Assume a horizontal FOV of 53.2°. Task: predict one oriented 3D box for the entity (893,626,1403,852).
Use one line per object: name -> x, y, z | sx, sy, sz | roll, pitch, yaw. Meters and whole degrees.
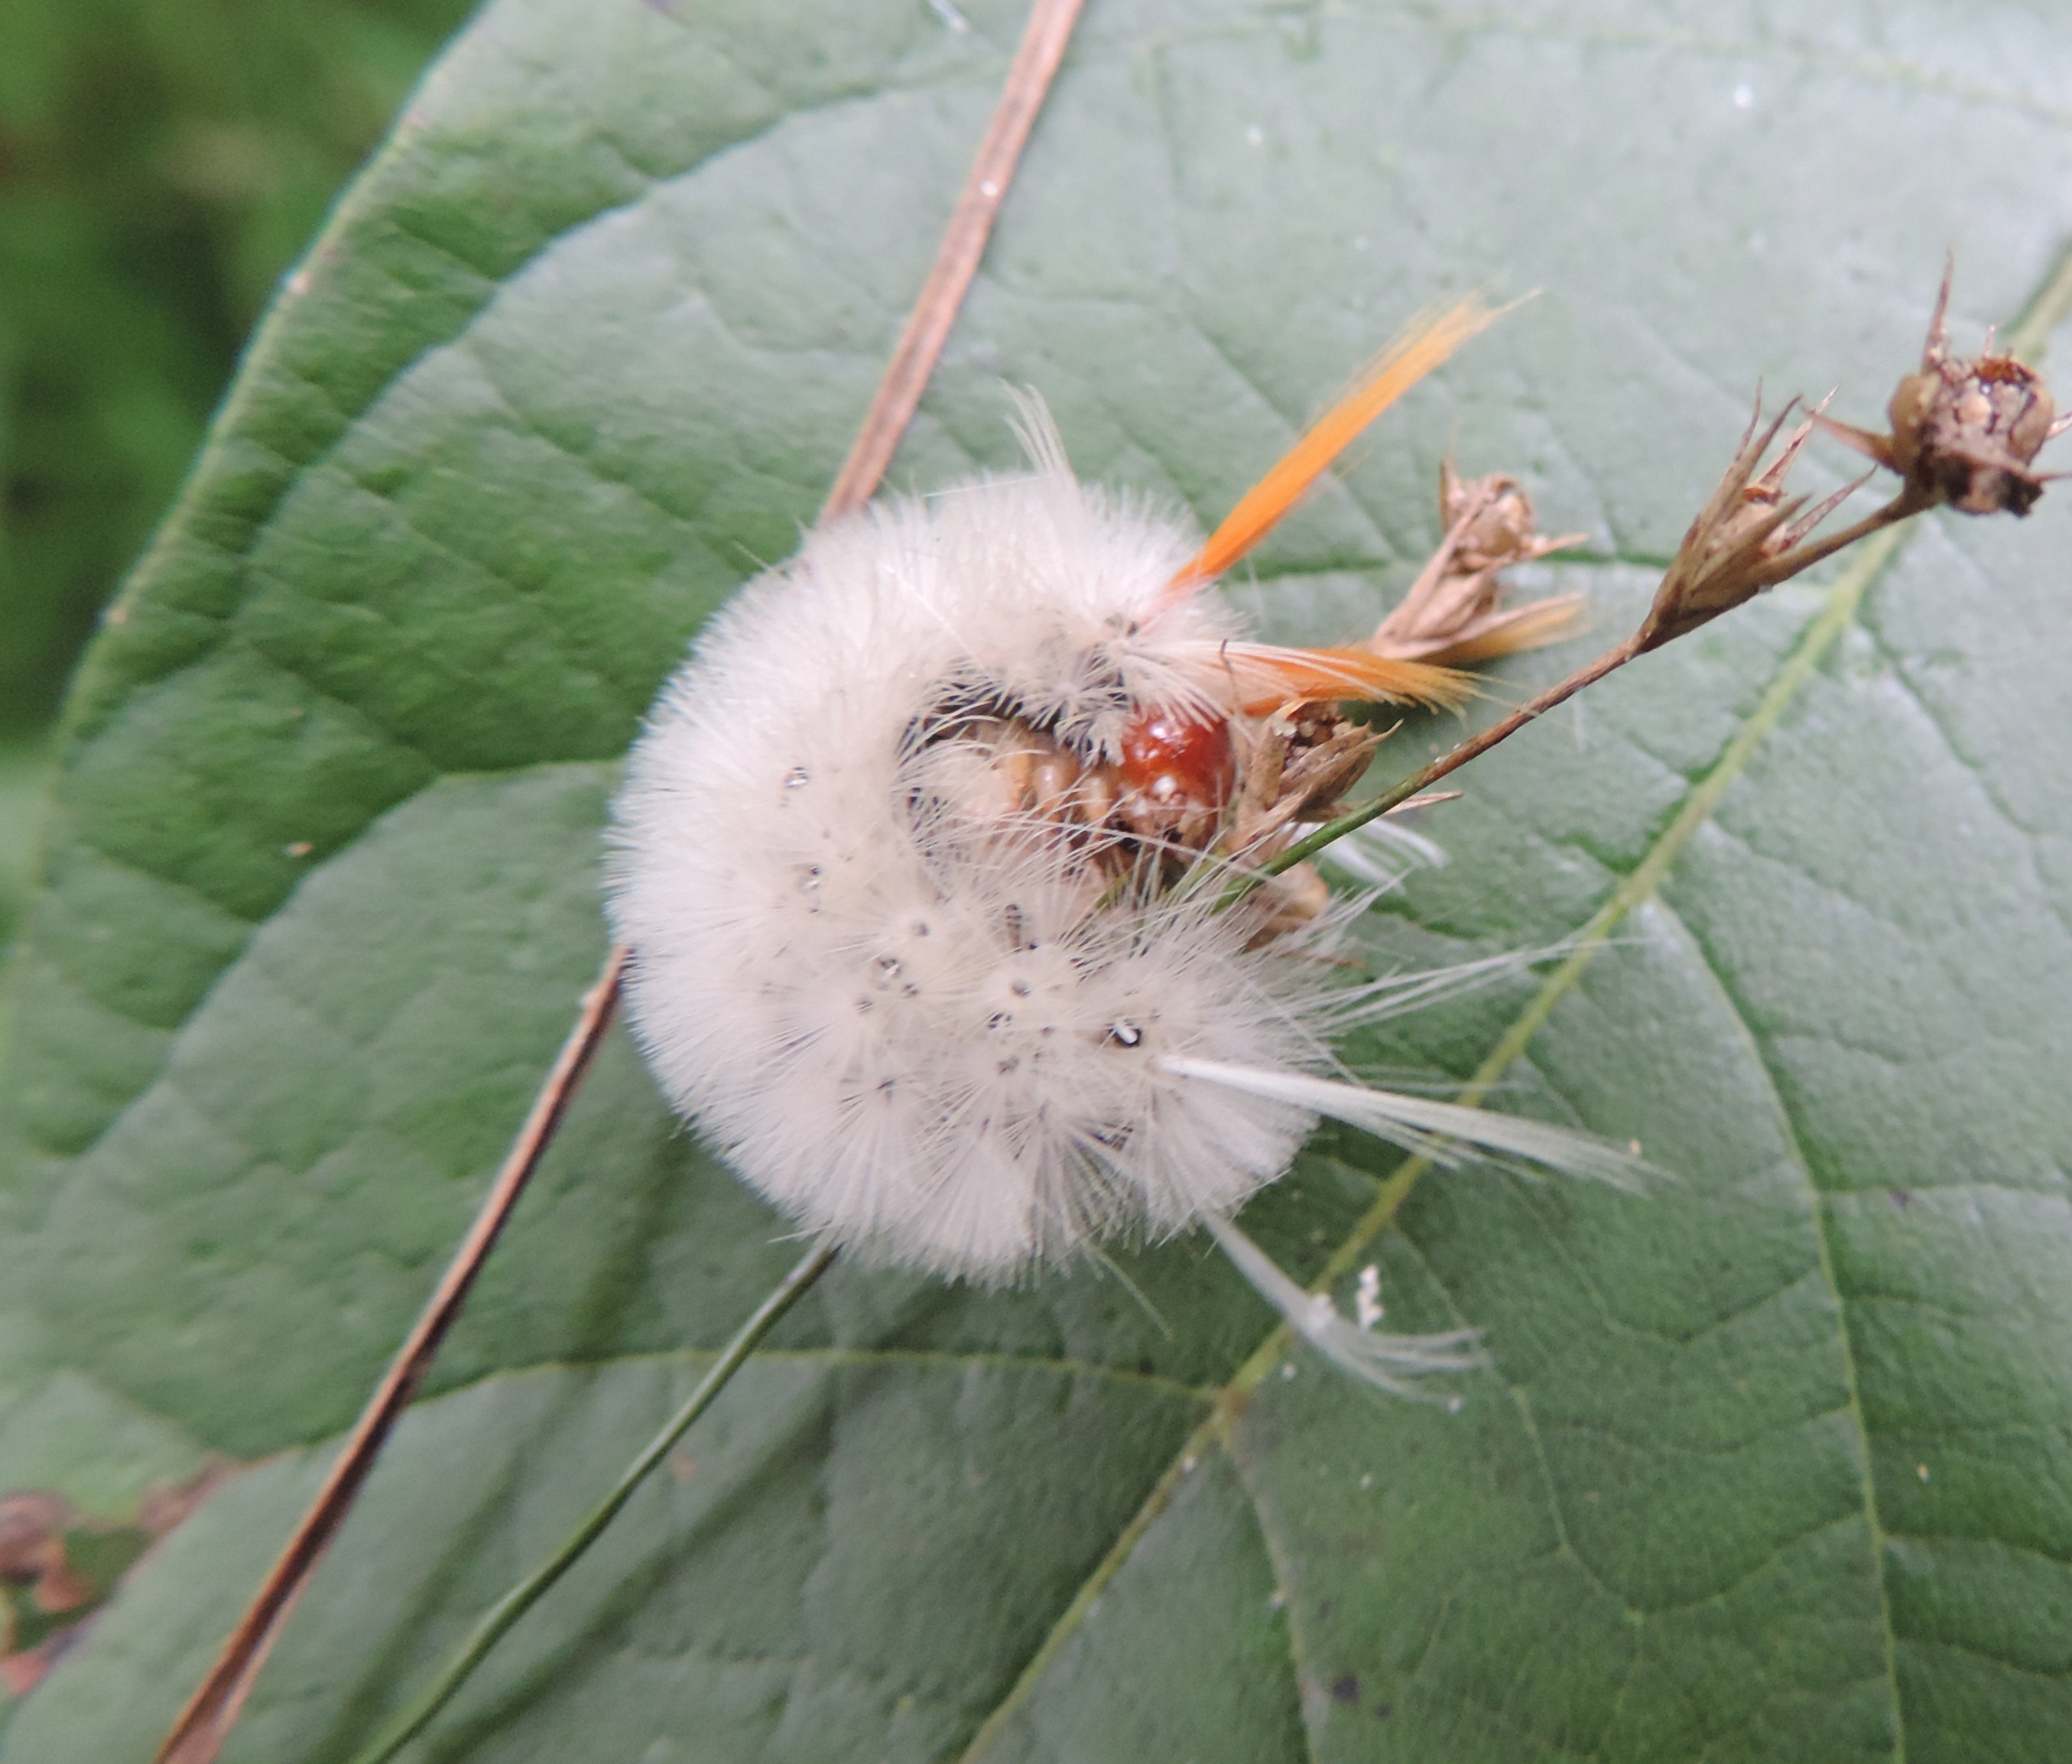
entity -> 0.055, -0.074, 1.555 | 0.439, 0.128, 0.140 | 7, 59, -2
